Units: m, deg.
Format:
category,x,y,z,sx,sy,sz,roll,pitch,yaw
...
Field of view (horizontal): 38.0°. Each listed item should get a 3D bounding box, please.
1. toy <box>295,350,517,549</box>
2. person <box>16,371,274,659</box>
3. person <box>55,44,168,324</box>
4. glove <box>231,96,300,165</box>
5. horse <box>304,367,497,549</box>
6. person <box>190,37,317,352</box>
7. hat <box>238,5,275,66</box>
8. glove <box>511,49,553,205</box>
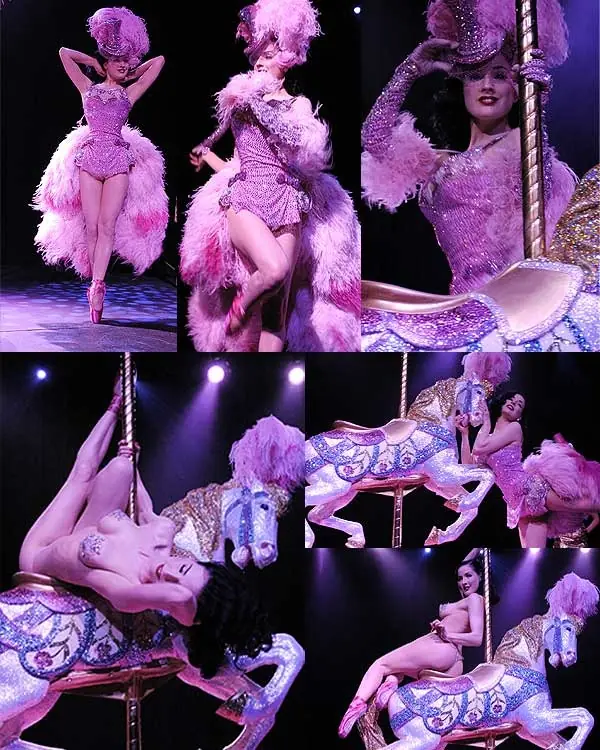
category,x,y,z,sx,sy,sz,roll,pitch,yaw
toy,0.247,0.208,2.562,0.759,0.552,0.183,0,0,-18
person,-0.405,0.463,2.449,0.920,0.623,0.314,26,26,21
person,-0.499,-0.547,2.497,0.289,0.767,0.135,-6,11,-8
glove,-0.084,-0.706,2.486,0.174,0.193,0.083,-19,17,9
horse,0.266,0.251,2.509,0.587,0.450,0.166,0,3,-2
person,-0.156,-0.496,2.473,0.299,0.869,0.179,-5,11,0
hat,-0.125,-0.963,2.486,0.127,0.152,0.060,2,10,16
glove,0.696,-0.725,2.537,0.119,0.427,0.087,-6,11,-6
